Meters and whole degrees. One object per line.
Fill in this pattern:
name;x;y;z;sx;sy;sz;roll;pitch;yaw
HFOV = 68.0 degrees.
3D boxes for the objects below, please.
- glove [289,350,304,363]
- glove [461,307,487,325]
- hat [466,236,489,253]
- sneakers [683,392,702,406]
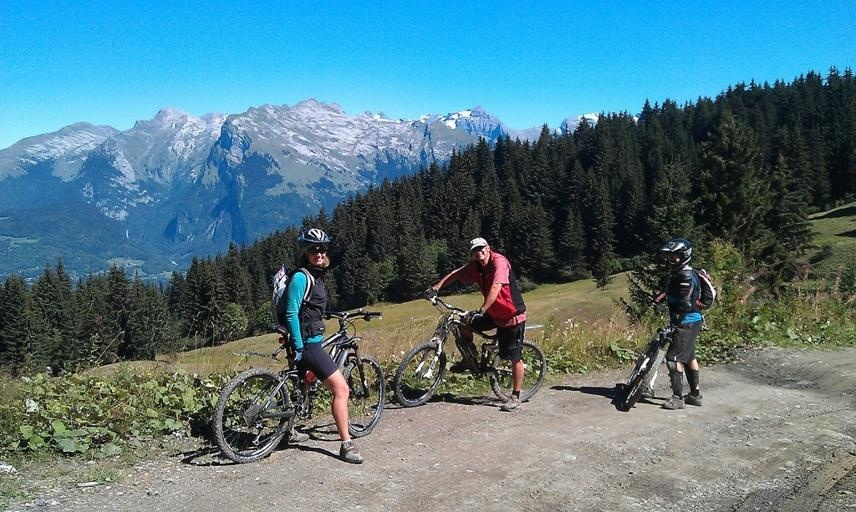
glove;-3.073;2.311;14.763;0.184;0.293;0.298;-9;-30;33
glove;1.239;1.604;17.007;0.664;0.234;0.373;-7;10;-28
hat;1.317;-0.301;16.965;0.461;0.375;0.569;-5;0;3
sneakers;7.181;3.885;17.332;0.246;0.233;0.558;0;0;-7
